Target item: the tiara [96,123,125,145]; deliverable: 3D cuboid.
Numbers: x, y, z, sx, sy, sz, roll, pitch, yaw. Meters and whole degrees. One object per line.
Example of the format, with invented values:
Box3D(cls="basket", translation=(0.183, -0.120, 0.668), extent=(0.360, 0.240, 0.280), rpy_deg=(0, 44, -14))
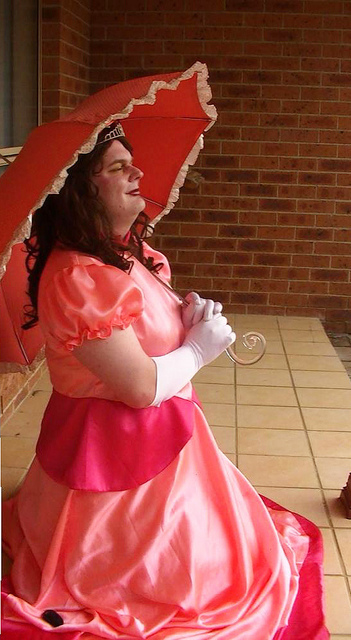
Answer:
Box3D(cls="tiara", translation=(-0.141, -0.401, 1.161), extent=(0.027, 0.048, 0.106), rpy_deg=(6, 15, 13))
